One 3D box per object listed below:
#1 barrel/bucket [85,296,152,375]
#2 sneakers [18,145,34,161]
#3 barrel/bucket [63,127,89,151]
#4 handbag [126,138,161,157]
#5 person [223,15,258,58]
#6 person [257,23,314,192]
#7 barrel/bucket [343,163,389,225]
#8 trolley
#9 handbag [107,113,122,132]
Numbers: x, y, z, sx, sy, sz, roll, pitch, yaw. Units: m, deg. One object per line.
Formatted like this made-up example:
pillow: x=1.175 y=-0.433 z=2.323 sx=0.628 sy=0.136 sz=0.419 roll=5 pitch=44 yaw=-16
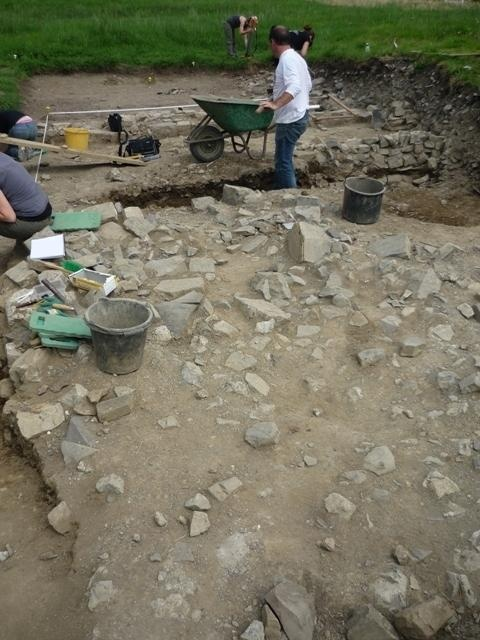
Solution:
barrel/bucket: x=-0.732 y=0.120 z=3.058 sx=0.386 sy=0.390 sz=0.452 roll=-5 pitch=28 yaw=-11
sneakers: x=-2.837 y=-2.198 z=6.544 sx=0.121 sy=0.195 sz=0.076 roll=-17 pitch=73 yaw=-13
barrel/bucket: x=-2.206 y=-2.426 z=6.651 sx=0.327 sy=0.267 sz=0.357 roll=4 pitch=50 yaw=-5
handbag: x=-1.356 y=-2.410 z=6.947 sx=0.504 sy=0.252 sz=0.344 roll=-10 pitch=29 yaw=-20
person: x=-0.032 y=-7.736 z=13.591 sx=0.810 sy=0.974 sz=2.264 roll=0 pitch=27 yaw=-2
person: x=0.481 y=-2.199 z=5.395 sx=0.470 sy=1.699 sz=0.713 roll=7 pitch=28 yaw=11
barrel/bucket: x=1.294 y=-1.343 z=5.272 sx=0.497 sy=0.445 sz=0.520 roll=2 pitch=35 yaw=-1
trolley: x=0.176 y=-2.558 z=6.674 sx=1.827 sy=0.846 sz=0.686 roll=-9 pitch=33 yaw=-20
handbag: x=-1.810 y=-2.831 z=7.184 sx=0.175 sy=0.252 sz=0.242 roll=-3 pitch=28 yaw=-8
